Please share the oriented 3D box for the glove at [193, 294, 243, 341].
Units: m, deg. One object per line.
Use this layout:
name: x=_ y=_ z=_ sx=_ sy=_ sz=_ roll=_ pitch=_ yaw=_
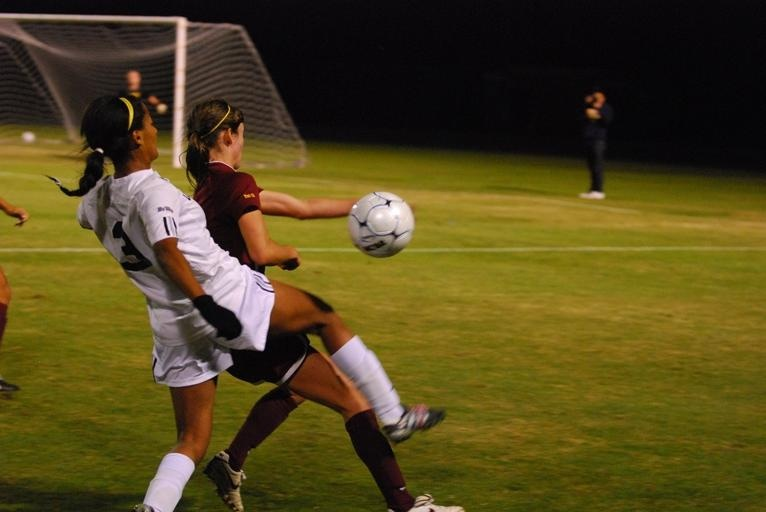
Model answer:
glove: x=-0.993 y=0.368 z=6.099 sx=0.332 sy=0.240 sz=0.090 roll=43 pitch=18 yaw=1
